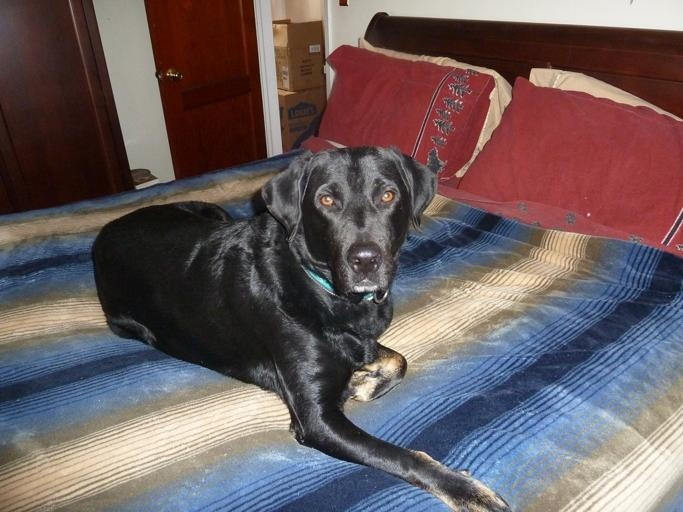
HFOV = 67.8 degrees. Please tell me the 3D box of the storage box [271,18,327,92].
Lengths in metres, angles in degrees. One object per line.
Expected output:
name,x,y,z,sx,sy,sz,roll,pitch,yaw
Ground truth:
storage box,-0.587,-2.539,6.380,0.559,0.681,0.745,-18,34,-29
